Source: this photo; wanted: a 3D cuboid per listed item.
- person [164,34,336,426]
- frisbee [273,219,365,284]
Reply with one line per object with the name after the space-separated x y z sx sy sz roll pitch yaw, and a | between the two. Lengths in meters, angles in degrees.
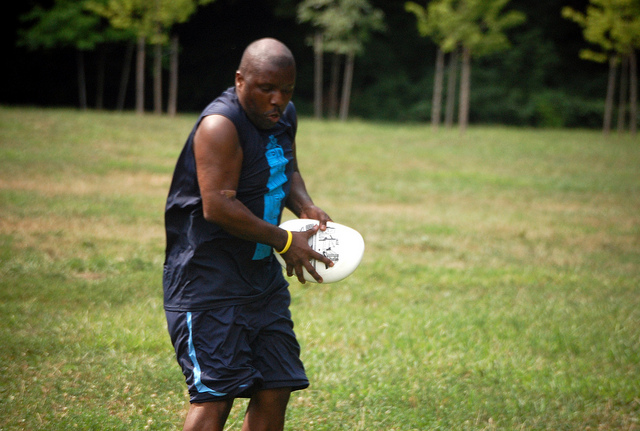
-0.506 0.203 6.462 1.123 2.778 0.874 1 8 0 | person
0.021 0.246 6.585 0.583 0.395 0.160 -2 -20 -21 | frisbee
